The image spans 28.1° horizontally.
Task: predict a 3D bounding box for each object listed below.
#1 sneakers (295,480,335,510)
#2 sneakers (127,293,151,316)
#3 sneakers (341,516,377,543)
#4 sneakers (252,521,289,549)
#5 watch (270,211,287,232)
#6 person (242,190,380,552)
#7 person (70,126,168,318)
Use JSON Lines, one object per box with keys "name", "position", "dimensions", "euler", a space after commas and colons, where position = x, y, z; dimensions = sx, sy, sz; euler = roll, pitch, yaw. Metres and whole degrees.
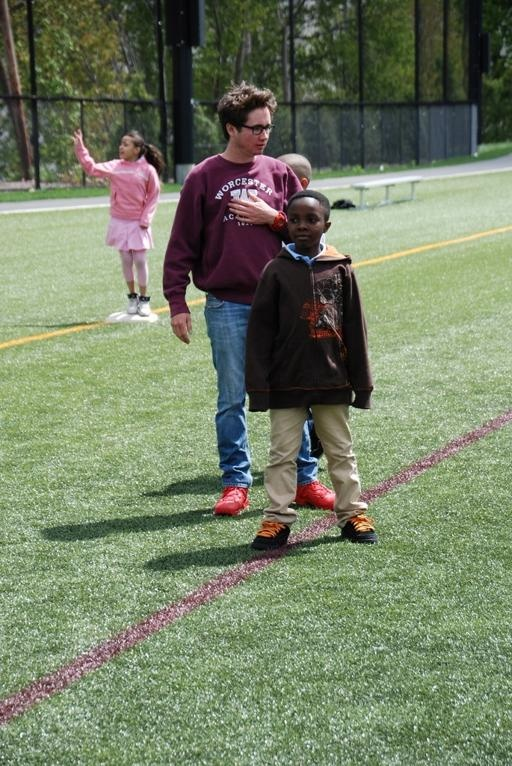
{"name": "sneakers", "position": [0.217, 0.425, 3.849], "dimensions": [0.175, 0.088, 0.071], "euler": [3, 9, 33]}
{"name": "sneakers", "position": [-0.931, -0.622, 8.033], "dimensions": [0.098, 0.128, 0.289], "euler": [0, 5, -18]}
{"name": "sneakers", "position": [0.339, 0.482, 3.356], "dimensions": [0.053, 0.068, 0.146], "euler": [0, 6, -9]}
{"name": "sneakers", "position": [0.041, 0.507, 3.343], "dimensions": [0.056, 0.069, 0.150], "euler": [0, -4, 21]}
{"name": "watch", "position": [0.077, -0.583, 3.668], "dimensions": [0.049, 0.064, 0.065], "euler": [0, -2, 2]}
{"name": "person", "position": [0.165, -0.038, 3.322], "dimensions": [0.410, 1.161, 0.220], "euler": [-3, 12, -2]}
{"name": "person", "position": [-1.021, -1.233, 7.996], "dimensions": [0.614, 1.447, 0.815], "euler": [-4, 12, -11]}
